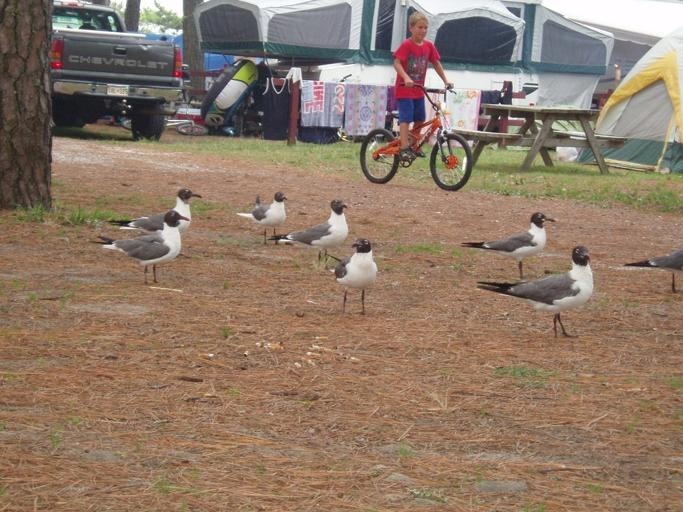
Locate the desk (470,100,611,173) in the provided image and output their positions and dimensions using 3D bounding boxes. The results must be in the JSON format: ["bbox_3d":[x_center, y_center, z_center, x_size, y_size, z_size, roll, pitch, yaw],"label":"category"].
[{"bbox_3d":[3.996,-2.497,19.099,2.828,0.793,2.301,-1,10,-23],"label":"desk"}]

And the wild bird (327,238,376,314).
[{"bbox_3d":[0.108,0.136,8.687,0.405,0.688,0.781,7,12,-1],"label":"wild bird"}]

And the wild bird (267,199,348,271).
[{"bbox_3d":[-0.320,-0.311,10.169,0.718,0.695,0.952,0,13,-21],"label":"wild bird"}]

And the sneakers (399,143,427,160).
[{"bbox_3d":[1.084,-1.709,15.141,0.311,0.189,0.458,-7,9,-39],"label":"sneakers"}]

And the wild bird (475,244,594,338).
[{"bbox_3d":[1.741,0.281,8.119,0.805,0.765,0.494,12,15,26],"label":"wild bird"}]
